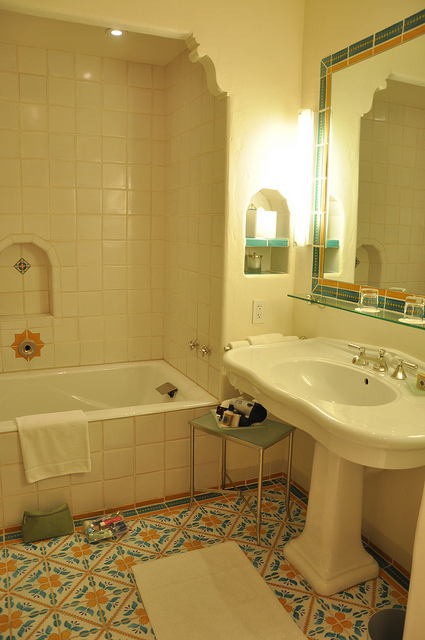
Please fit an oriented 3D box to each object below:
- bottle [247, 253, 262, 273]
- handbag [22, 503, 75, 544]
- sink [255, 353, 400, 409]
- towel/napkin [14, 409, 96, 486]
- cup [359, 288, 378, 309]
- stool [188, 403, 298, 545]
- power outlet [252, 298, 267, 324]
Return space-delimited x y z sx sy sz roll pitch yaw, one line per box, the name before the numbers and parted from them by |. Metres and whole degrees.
bottle | 0.209 -0.276 2.311 0.096 0.097 0.080 -2 6 -20
handbag | -0.664 0.822 1.919 0.195 0.121 0.056 -2 6 -20
sink | 0.428 0.224 1.611 0.161 0.123 0.466 -5 8 -43
towel/napkin | -0.661 0.533 1.983 0.287 0.265 0.101 -2 6 -25
cup | 0.565 -0.078 1.763 0.066 0.080 0.069 0 4 0
stool | 0.120 0.646 2.062 0.405 0.437 0.285 8 12 43
power outlet | 0.216 -0.047 2.246 0.111 0.162 0.017 -3 7 -29
